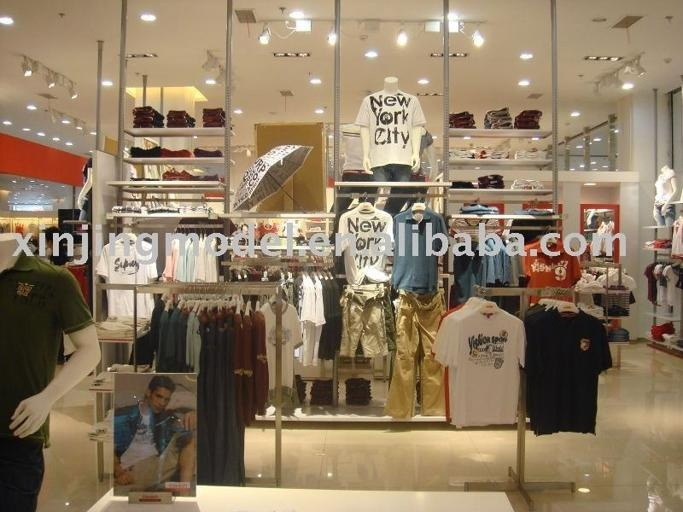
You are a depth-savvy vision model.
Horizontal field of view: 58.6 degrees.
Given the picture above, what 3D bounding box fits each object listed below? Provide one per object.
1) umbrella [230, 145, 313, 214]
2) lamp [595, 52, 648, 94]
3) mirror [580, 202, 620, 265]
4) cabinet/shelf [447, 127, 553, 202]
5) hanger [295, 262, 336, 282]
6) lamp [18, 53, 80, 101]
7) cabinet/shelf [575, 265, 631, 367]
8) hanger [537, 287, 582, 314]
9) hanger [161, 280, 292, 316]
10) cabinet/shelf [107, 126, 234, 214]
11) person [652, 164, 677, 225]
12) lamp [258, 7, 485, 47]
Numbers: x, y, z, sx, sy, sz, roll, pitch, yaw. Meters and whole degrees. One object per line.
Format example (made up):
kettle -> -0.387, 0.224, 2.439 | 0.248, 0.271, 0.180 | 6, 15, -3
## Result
umbrella -> -0.783, -0.872, 6.823 | 0.863, 0.779, 0.697 | -1, 9, -11
lamp -> 4.531, -2.920, 9.823 | 0.770, 0.541, 1.489 | 5, 11, 25
mirror -> 4.447, -0.309, 10.355 | 0.617, 1.295, 0.094 | -1, -26, 25
cabinet/shelf -> 2.671, -1.732, 10.874 | 2.124, 0.927, 7.043 | 4, 11, 18
hanger -> -0.311, 0.116, 7.252 | 0.464, 0.237, 0.856 | 0, 10, -2
lamp -> -4.852, -2.961, 10.059 | 0.745, 0.576, 1.563 | -3, 11, -18
cabinet/shelf -> 3.995, 0.917, 9.154 | 0.792, 1.510, 1.845 | 5, 10, 26
hanger -> 1.989, 0.391, 5.656 | 0.373, 0.181, 0.555 | 3, 6, 7
hanger -> -1.063, 0.315, 5.372 | 1.043, 0.235, 0.567 | -1, 10, -11
cabinet/shelf -> -2.307, -1.141, 8.036 | 1.554, 1.211, 0.916 | 0, 3, -1
person -> 5.438, -0.991, 10.078 | 0.310, 0.987, 0.481 | 3, 9, 17
lamp -> 0.401, -3.143, 8.428 | 3.167, 0.443, 0.992 | 1, 10, 3
